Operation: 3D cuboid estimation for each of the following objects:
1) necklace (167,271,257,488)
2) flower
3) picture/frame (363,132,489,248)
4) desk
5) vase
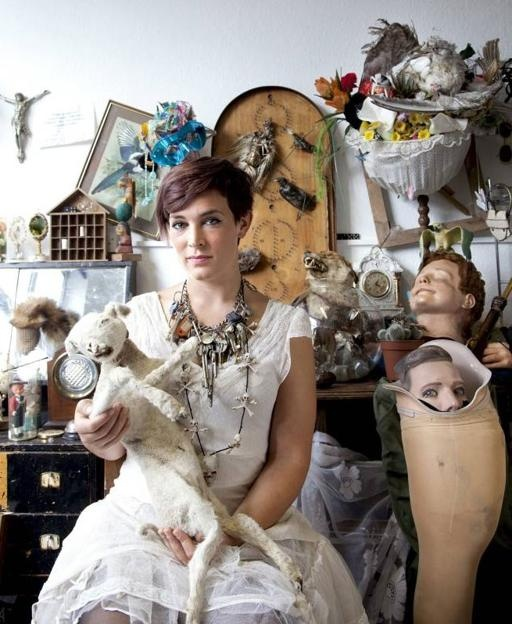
[{"bbox_3d":[-0.077,0.113,1.050,0.149,0.364,0.064,-5,-24,-1],"label":"necklace"},{"bbox_3d":[0.380,-0.495,1.714,0.423,0.207,0.404,1,-4,27],"label":"flower"},{"bbox_3d":[0.532,-0.374,1.697,0.438,0.418,0.040,-16,45,11],"label":"picture/frame"},{"bbox_3d":[0.353,0.322,1.671,0.342,0.268,0.234,-1,-5,1],"label":"desk"},{"bbox_3d":[0.468,-0.370,1.576,0.253,0.138,0.231,-9,11,13],"label":"vase"}]
